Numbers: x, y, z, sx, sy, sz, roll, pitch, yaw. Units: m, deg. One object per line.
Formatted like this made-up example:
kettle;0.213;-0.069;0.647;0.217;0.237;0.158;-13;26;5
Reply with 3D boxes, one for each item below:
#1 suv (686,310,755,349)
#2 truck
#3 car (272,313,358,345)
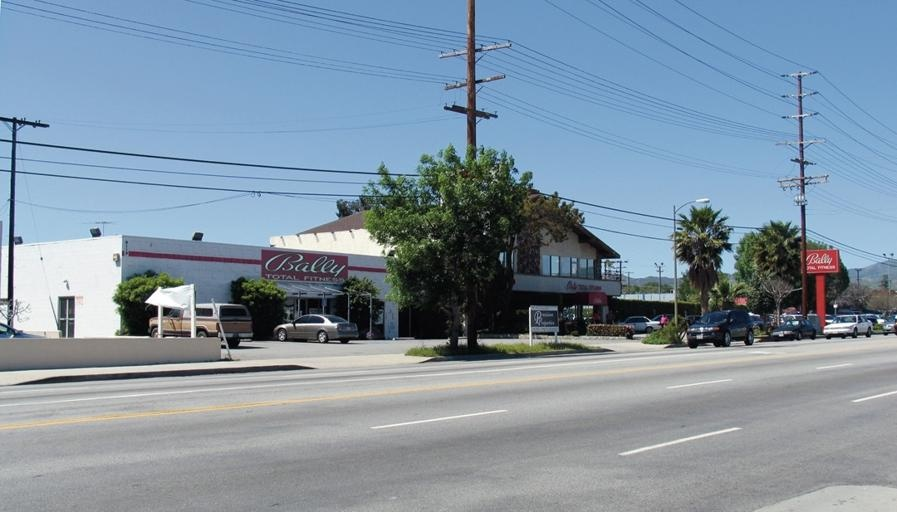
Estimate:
suv;16.723;4.513;52.452;6.027;2.285;2.494;2;-2;-37
truck;-13.701;3.580;47.025;5.173;2.035;2.912;0;-5;22
car;-8.023;4.327;51.259;4.842;1.680;1.170;1;7;14
